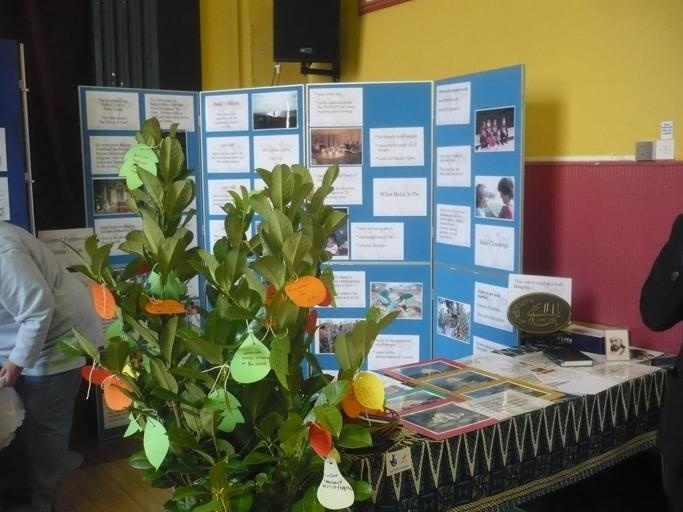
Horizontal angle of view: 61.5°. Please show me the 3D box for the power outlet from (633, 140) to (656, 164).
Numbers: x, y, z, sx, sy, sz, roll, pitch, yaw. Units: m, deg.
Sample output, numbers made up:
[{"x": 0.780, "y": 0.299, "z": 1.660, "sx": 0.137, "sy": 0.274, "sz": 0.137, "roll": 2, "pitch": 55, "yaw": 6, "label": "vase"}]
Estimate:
[{"x": 1.748, "y": -0.596, "z": 3.302, "sx": 0.065, "sy": 0.140, "sz": 0.123, "roll": 2, "pitch": -9, "yaw": -27, "label": "power outlet"}]
